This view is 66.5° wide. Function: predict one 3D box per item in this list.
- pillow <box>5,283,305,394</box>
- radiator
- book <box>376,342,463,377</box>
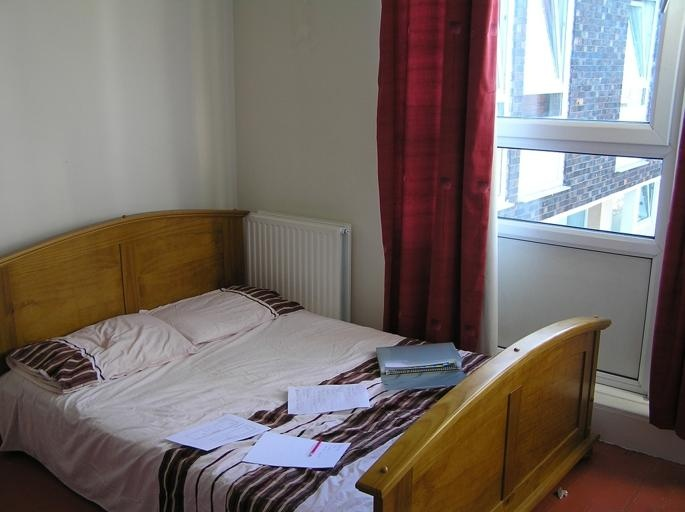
[{"bbox_3d":[-0.994,0.437,2.664,0.804,0.246,1.174,9,14,39],"label":"pillow"},{"bbox_3d":[-0.251,0.071,3.261,0.659,0.626,0.081,6,17,36],"label":"radiator"},{"bbox_3d":[0.384,0.465,2.610,0.377,0.122,0.370,3,6,26],"label":"book"}]
